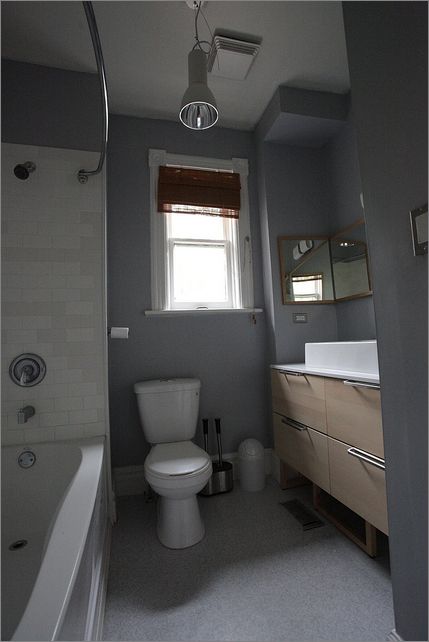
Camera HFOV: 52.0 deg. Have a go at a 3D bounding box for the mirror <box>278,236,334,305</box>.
[{"bbox_3d":[0.578,-0.318,2.860,0.377,0.537,0.035,-2,-3,-19],"label":"mirror"}]

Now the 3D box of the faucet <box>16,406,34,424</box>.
[{"bbox_3d":[-0.852,0.418,1.952,0.049,0.089,0.047,27,26,25],"label":"faucet"}]

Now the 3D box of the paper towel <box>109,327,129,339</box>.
[{"bbox_3d":[-0.503,0.066,2.296,0.087,0.073,0.023,5,-26,0],"label":"paper towel"}]

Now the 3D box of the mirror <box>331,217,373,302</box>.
[{"bbox_3d":[0.841,-0.361,2.717,0.081,0.373,0.363,-5,-2,-14],"label":"mirror"}]

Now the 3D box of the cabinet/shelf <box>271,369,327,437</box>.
[{"bbox_3d":[0.451,0.413,2.295,0.203,0.193,0.360,-1,0,-13],"label":"cabinet/shelf"}]

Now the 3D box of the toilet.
[{"bbox_3d":[-0.206,0.717,2.243,0.317,0.699,0.609,-3,6,-12],"label":"toilet"}]

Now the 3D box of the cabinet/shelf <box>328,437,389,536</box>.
[{"bbox_3d":[0.580,0.658,1.768,0.251,0.228,0.412,0,-1,-10],"label":"cabinet/shelf"}]

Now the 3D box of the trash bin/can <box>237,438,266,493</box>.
[{"bbox_3d":[0.227,0.869,2.644,0.137,0.252,0.134,-8,4,-35],"label":"trash bin/can"}]
